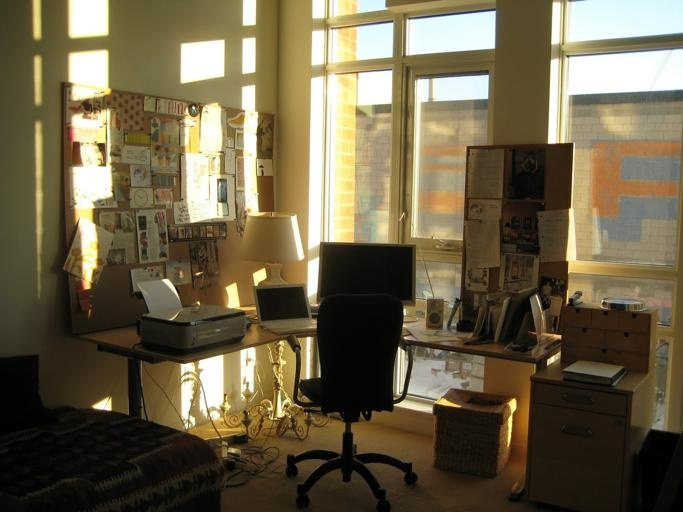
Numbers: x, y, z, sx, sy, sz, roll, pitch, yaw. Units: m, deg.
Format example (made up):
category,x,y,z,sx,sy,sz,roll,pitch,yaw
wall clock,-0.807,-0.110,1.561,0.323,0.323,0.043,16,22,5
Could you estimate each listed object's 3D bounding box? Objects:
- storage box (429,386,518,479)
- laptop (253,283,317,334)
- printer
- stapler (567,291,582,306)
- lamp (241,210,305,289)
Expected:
category,x,y,z,sx,sy,sz,roll,pitch,yaw
storage box,0.932,1.184,3.993,0.490,0.535,0.527,0,2,26
laptop,-0.380,0.361,3.966,0.348,0.223,0.346,-1,2,-28
printer,-0.978,0.384,3.499,0.449,0.332,0.450,3,4,31
stapler,1.551,0.279,3.811,0.044,0.074,0.177,6,14,37
lamp,-0.457,-0.064,4.333,0.496,0.611,0.508,-5,9,-26
